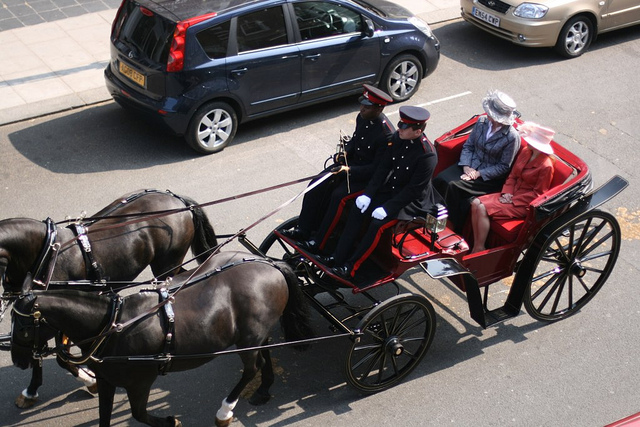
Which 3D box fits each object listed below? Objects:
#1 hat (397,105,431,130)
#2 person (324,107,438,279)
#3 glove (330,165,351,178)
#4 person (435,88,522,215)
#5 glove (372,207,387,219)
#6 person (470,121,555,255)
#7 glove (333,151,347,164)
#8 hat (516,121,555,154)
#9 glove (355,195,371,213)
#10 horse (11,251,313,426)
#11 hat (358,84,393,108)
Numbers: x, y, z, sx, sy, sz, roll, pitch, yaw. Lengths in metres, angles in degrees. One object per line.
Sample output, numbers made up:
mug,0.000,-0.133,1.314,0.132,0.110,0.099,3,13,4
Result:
hat,1.129,-1.146,7.552,0.328,0.161,0.288,6,43,-17
person,0.775,-0.276,7.749,1.464,2.023,0.789,-11,30,-31
glove,0.253,-0.536,7.989,0.219,0.212,0.146,-11,82,4
person,2.071,-0.658,8.536,1.055,1.883,0.748,-13,37,-30
glove,0.706,0.008,7.540,0.117,0.094,0.152,-27,54,-32
person,2.440,-0.306,8.086,0.752,1.418,1.129,27,46,20
glove,0.249,-0.714,8.234,0.126,0.065,0.182,9,81,6
hat,2.697,-0.975,7.944,0.384,0.116,0.394,29,44,3
glove,0.516,-0.116,7.614,0.141,0.061,0.196,15,85,-2
horse,-1.631,1.550,7.109,3.161,1.935,1.185,-10,45,-18
hat,0.689,-1.459,7.872,0.330,0.175,0.287,8,29,-10
